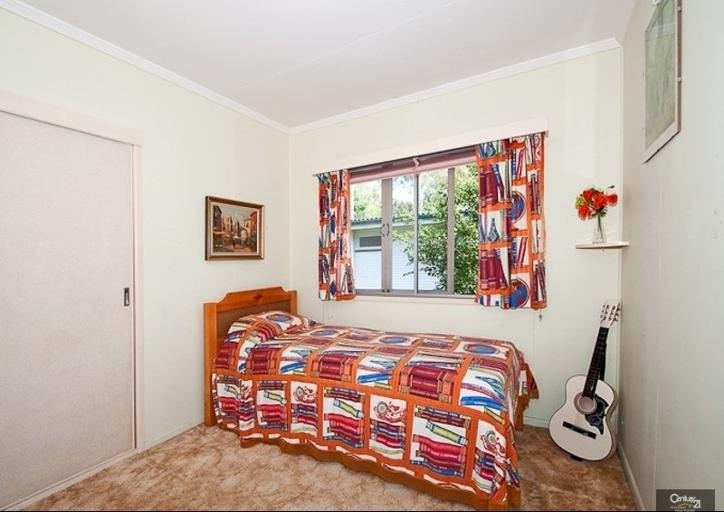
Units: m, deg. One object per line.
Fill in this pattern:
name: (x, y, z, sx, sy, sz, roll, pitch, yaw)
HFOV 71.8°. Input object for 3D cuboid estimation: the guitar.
guitar: (1.871, 1.028, 4.119, 0.624, 0.822, 0.347, -4, 1, 5)

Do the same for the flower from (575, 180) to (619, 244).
flower: (1.973, -0.359, 4.473, 0.443, 0.634, 0.498, 1, -3, 9)

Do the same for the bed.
bed: (0.017, 1.090, 4.586, 2.870, 1.466, 1.510, -3, 1, 28)

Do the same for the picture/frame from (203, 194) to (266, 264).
picture/frame: (-1.285, -0.267, 5.143, 0.061, 0.592, 0.689, 1, 0, 37)
